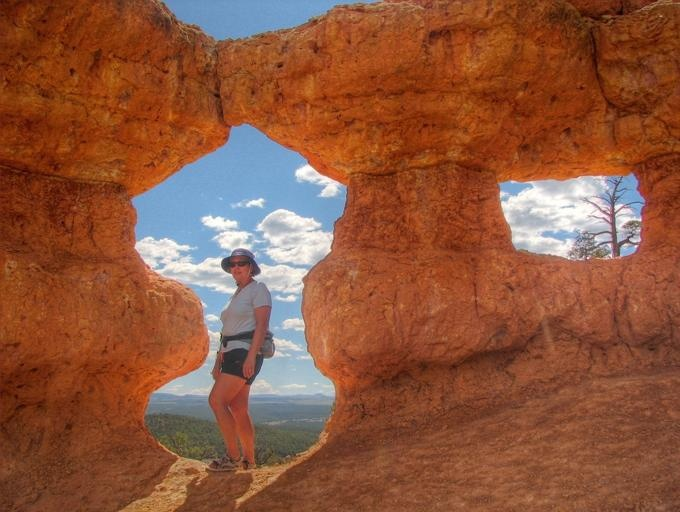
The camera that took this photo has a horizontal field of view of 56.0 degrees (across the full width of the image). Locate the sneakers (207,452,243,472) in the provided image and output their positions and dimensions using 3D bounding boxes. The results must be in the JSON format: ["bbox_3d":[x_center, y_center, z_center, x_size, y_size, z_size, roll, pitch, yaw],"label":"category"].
[{"bbox_3d":[-1.457,2.644,8.195,0.493,0.201,0.185,4,-15,2],"label":"sneakers"}]

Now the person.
[{"bbox_3d":[-1.248,1.311,8.118,0.791,2.822,1.373,1,-2,-6],"label":"person"}]
